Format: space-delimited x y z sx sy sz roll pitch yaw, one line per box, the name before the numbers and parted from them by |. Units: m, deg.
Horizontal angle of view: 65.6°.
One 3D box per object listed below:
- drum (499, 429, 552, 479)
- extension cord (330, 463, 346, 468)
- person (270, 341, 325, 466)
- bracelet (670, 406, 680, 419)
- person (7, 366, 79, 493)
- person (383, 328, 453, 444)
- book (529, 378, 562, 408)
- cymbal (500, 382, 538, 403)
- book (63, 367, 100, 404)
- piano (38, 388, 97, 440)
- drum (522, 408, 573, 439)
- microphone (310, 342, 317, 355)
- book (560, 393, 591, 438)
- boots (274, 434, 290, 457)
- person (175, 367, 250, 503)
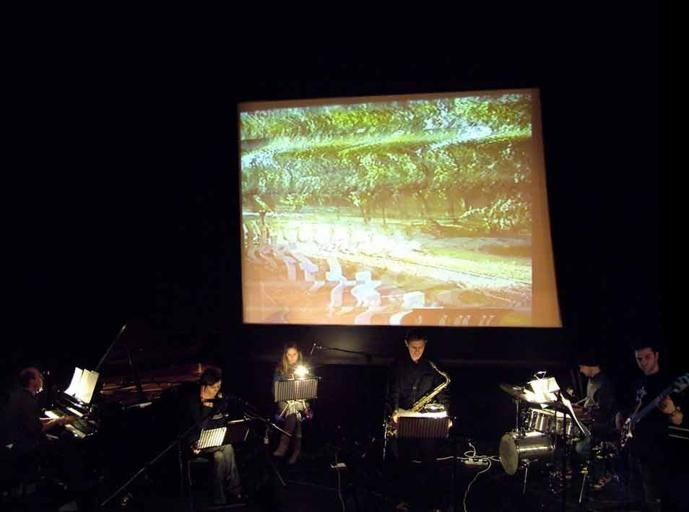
drum | 2.374 2.567 6.875 0.582 0.591 0.497 0 -7 -7
extension cord | -0.076 2.865 7.299 0.212 0.046 0.117 0 -7 -3
person | -0.689 2.039 7.378 0.553 1.626 0.771 1 -7 -8
bracelet | 3.884 1.840 6.282 0.084 0.113 0.101 0 -26 45
person | -3.725 2.098 6.530 0.824 1.419 0.701 3 -7 -25
person | 0.953 2.052 7.499 0.856 1.922 0.576 9 23 19
book | 2.492 1.703 6.671 0.395 0.340 0.484 -3 -8 22
cymbal | 2.221 1.739 6.768 0.342 0.085 0.274 15 -1 32
book | -3.359 1.680 6.938 0.468 0.460 0.110 23 0 37
piano | -3.442 2.042 6.704 0.711 0.372 0.544 13 16 38
drum | 2.634 2.116 6.921 0.503 0.188 0.409 3 6 3
microphone | -0.476 1.446 8.367 0.062 0.205 0.120 6 1 -41
book | 2.879 2.002 6.642 0.195 0.689 0.196 -39 25 -7
boots | -0.864 2.623 7.476 0.242 0.338 0.274 0 -7 -6
person | -1.613 2.225 6.607 0.741 1.655 0.775 1 -7 -15
